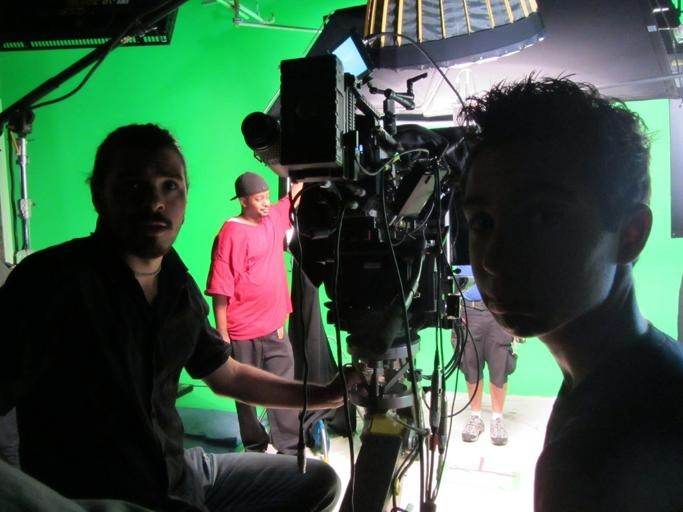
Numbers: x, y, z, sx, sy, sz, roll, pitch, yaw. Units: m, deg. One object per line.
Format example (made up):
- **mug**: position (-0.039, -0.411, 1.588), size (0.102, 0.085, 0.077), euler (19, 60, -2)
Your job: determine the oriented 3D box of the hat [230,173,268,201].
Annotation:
- **hat**: position (-0.596, -0.459, 3.872), size (0.212, 0.133, 0.158), euler (-4, 20, 21)
